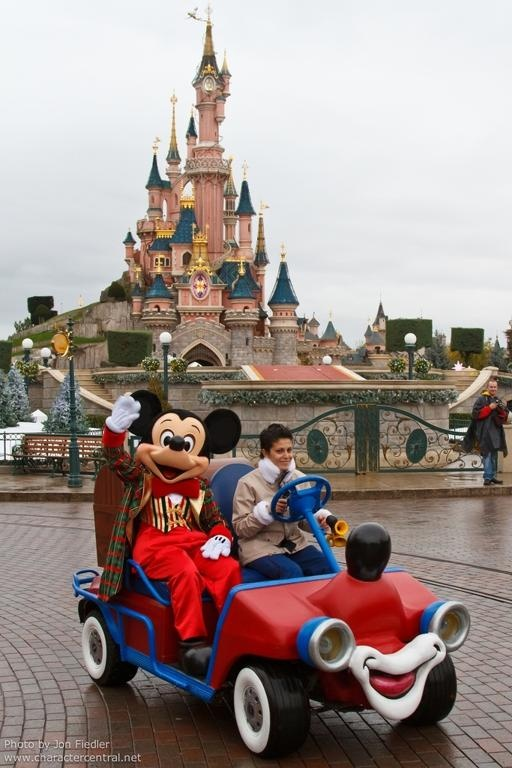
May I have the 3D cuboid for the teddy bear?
[{"bbox_3d":[-0.487,0.719,4.418,0.778,1.365,1.428,0,-2,-3],"label":"teddy bear"}]

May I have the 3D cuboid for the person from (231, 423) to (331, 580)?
[{"bbox_3d":[0.129,0.642,4.428,0.518,0.833,0.634,0,-2,-7],"label":"person"}]

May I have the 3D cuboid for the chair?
[{"bbox_3d":[-0.153,0.756,4.726,0.639,0.787,0.721,1,-13,-14],"label":"chair"}]

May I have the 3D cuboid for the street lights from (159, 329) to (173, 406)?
[{"bbox_3d":[-2.955,-0.504,25.837,0.520,2.309,0.526,-2,0,31],"label":"street lights"}]

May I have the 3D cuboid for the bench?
[{"bbox_3d":[-4.467,1.574,17.916,2.471,0.892,1.253,-1,-2,31],"label":"bench"}]
